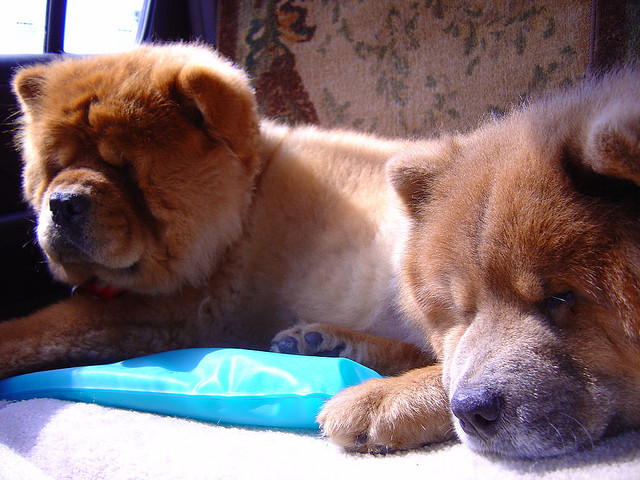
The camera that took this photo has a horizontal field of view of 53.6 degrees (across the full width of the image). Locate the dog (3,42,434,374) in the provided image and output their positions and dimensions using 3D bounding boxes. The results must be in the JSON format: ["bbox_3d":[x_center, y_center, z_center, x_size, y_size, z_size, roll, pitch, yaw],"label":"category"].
[{"bbox_3d":[-0.448,-0.085,2.662,2.071,1.111,0.892,0,-12,-27],"label":"dog"}]
